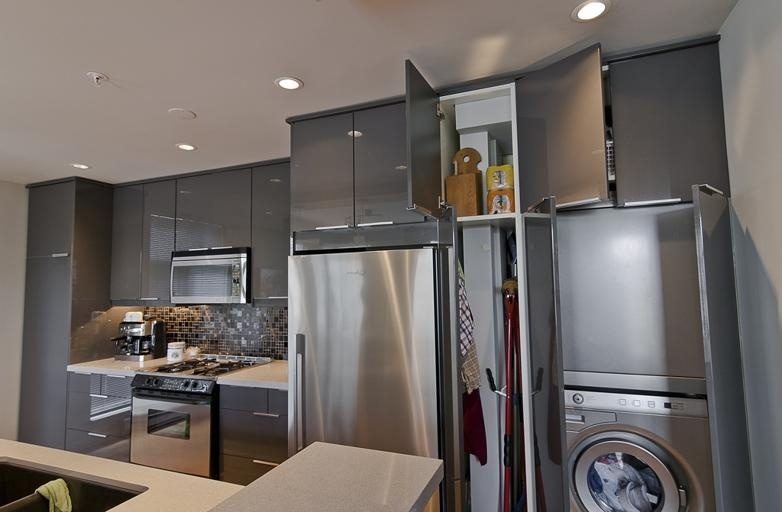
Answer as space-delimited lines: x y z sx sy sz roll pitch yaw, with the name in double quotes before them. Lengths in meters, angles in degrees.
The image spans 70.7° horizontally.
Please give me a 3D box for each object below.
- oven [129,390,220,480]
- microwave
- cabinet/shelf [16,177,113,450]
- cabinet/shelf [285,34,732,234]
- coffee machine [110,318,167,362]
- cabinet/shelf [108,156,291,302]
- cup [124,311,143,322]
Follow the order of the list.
"oven" -1.720 1.443 4.638 0.839 0.610 0.492 -2 -7 24
"microwave" -1.566 0.213 5.017 0.752 0.499 0.411 -1 -6 15
"cabinet/shelf" -3.108 0.591 5.217 0.633 2.498 0.426 0 -4 10
"cabinet/shelf" 0.700 -0.733 3.551 2.567 0.942 0.565 -3 -4 5
"coffee machine" -2.408 0.797 5.241 0.323 0.364 0.431 -1 -6 21
"cabinet/shelf" -1.626 -0.242 4.863 1.212 0.745 0.394 -2 -6 20
"cup" -2.452 0.581 5.280 0.149 0.109 0.104 1 3 -2
